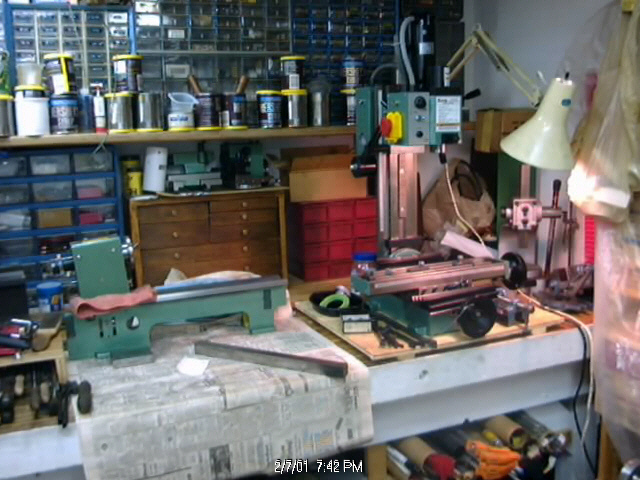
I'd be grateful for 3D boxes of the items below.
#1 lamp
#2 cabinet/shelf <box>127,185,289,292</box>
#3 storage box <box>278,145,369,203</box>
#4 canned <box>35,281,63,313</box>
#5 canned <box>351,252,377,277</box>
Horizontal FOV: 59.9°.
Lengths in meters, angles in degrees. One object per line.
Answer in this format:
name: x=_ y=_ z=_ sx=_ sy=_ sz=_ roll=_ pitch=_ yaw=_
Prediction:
lamp: x=0.918 y=-0.718 z=2.684 sx=0.522 sy=0.708 sz=1.250 roll=-2 pitch=13 yaw=13
cabinet/shelf: x=-0.716 y=-0.026 z=3.334 sx=0.593 sy=0.569 sz=0.234 roll=-4 pitch=9 yaw=-17
storage box: x=0.008 y=-0.419 z=3.783 sx=0.459 sy=0.300 sz=0.435 roll=-4 pitch=10 yaw=-13
canned: x=-1.181 y=0.237 z=2.445 sx=0.117 sy=0.129 sz=0.119 roll=8 pitch=9 yaw=38
canned: x=0.215 y=0.110 z=2.667 sx=0.123 sy=0.079 sz=0.137 roll=-4 pitch=12 yaw=5
